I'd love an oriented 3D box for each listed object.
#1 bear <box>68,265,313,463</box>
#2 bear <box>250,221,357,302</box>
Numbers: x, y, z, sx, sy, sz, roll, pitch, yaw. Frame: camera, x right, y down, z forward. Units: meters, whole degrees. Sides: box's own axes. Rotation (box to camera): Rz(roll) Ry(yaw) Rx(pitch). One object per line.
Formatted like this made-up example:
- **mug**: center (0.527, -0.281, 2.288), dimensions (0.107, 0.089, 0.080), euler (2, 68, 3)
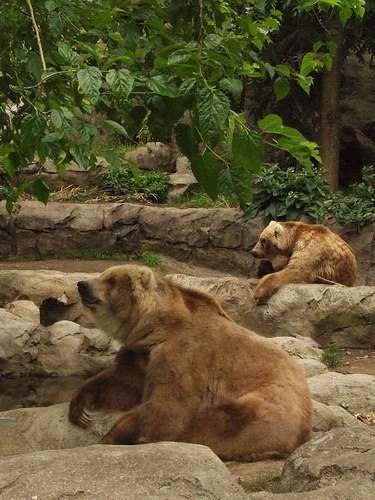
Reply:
- **bear**: center (0.052, 0.795, 4.438), dimensions (1.713, 0.965, 1.059), euler (15, -11, -3)
- **bear**: center (1.661, 0.087, 9.544), dimensions (1.589, 0.901, 0.796), euler (-1, 13, -13)
